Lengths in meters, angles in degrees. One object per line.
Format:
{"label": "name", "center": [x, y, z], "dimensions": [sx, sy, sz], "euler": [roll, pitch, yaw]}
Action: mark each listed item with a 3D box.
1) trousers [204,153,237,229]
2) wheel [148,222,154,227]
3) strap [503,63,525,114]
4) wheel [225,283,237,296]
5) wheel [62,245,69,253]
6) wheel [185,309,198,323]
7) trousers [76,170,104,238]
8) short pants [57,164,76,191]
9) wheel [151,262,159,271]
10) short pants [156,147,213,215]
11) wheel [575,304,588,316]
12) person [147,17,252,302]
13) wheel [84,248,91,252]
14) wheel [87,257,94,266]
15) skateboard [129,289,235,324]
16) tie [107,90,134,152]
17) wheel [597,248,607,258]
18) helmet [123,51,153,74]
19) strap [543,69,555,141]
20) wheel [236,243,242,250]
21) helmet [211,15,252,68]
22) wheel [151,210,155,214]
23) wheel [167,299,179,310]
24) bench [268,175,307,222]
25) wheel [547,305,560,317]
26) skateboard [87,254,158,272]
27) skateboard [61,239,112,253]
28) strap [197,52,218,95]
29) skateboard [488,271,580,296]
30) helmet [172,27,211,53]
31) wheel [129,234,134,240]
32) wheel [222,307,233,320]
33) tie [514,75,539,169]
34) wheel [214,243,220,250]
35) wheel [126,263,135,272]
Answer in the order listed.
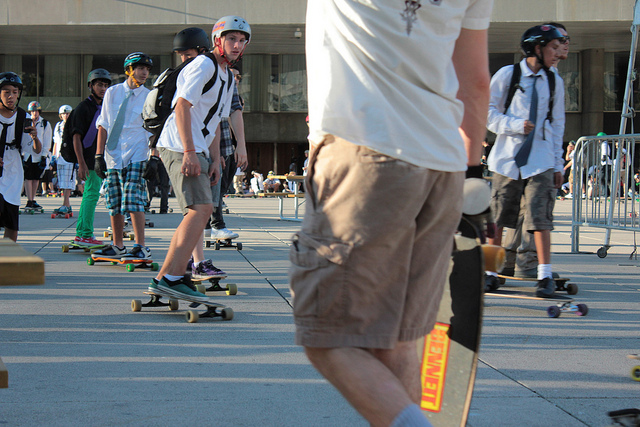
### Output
{"label": "trousers", "center": [-1.453, -0.308, 16.942], "dimensions": [0.466, 0.375, 1.339], "euler": [-6, -17, -6]}
{"label": "wheel", "center": [-3.011, 0.201, 20.669], "dimensions": [0.069, 0.076, 0.127], "euler": [-3, -2, 43]}
{"label": "strap", "center": [2.442, -1.589, 14.495], "dimensions": [0.226, 0.641, 0.153], "euler": [-1, 7, -24]}
{"label": "wheel", "center": [-1.087, 0.951, 14.360], "dimensions": [0.125, 0.152, 0.171], "euler": [3, 5, -17]}
{"label": "wheel", "center": [-3.772, 0.528, 17.161], "dimensions": [0.101, 0.121, 0.137], "euler": [4, -3, -19]}
{"label": "wheel", "center": [-1.476, 1.205, 13.331], "dimensions": [0.144, 0.128, 0.083], "euler": [3, -3, 44]}
{"label": "trousers", "center": [-3.398, -0.139, 17.041], "dimensions": [0.340, 1.039, 0.584], "euler": [0, 6, -12]}
{"label": "short pants", "center": [-5.223, -0.744, 23.776], "dimensions": [0.376, 0.575, 0.455], "euler": [-3, -6, -18]}
{"label": "wheel", "center": [-2.241, 0.733, 15.696], "dimensions": [0.092, 0.160, 0.174], "euler": [0, 0, -11]}
{"label": "short pants", "center": [-1.565, -0.377, 13.431], "dimensions": [0.646, 0.781, 0.354], "euler": [2, 6, 3]}
{"label": "wheel", "center": [3.124, 1.165, 13.738], "dimensions": [0.112, 0.089, 0.163], "euler": [-2, -25, -18]}
{"label": "person", "center": [-1.465, -0.617, 13.634], "dimensions": [0.796, 3.246, 1.150], "euler": [3, 6, 9]}
{"label": "wheel", "center": [-3.472, 0.552, 17.233], "dimensions": [0.066, 0.072, 0.128], "euler": [1, 6, -10]}
{"label": "wheel", "center": [-3.192, 0.679, 16.084], "dimensions": [0.098, 0.143, 0.157], "euler": [2, 0, -19]}
{"label": "skateboard", "center": [-1.560, 1.120, 13.517], "dimensions": [0.970, 0.207, 0.513], "euler": [12, 5, 37]}
{"label": "tie", "center": [-2.773, -1.288, 15.931], "dimensions": [0.128, 0.989, 0.140], "euler": [20, -35, -6]}
{"label": "wheel", "center": [4.297, 0.607, 17.494], "dimensions": [0.139, 0.123, 0.050], "euler": [-19, 5, 1]}
{"label": "helmet", "center": [-2.499, -2.124, 15.898], "dimensions": [0.391, 0.229, 0.394], "euler": [4, 6, 22]}
{"label": "strap", "center": [2.892, -1.493, 14.506], "dimensions": [0.128, 0.665, 0.051], "euler": [0, 7, -13]}
{"label": "wheel", "center": [-1.221, 0.512, 17.606], "dimensions": [0.079, 0.115, 0.129], "euler": [0, 0, -6]}
{"label": "helmet", "center": [-1.083, -2.138, 14.069], "dimensions": [0.444, 0.632, 0.532], "euler": [1, 6, -5]}
{"label": "wheel", "center": [-3.488, -0.038, 24.215], "dimensions": [0.085, 0.074, 0.085], "euler": [-1, -2, 0]}
{"label": "wheel", "center": [-1.729, 1.090, 13.619], "dimensions": [0.124, 0.148, 0.159], "euler": [2, 15, -7]}
{"label": "bench", "center": [-0.547, -0.303, 25.699], "dimensions": [1.030, 0.662, 0.986], "euler": [17, 10, 24]}
{"label": "wheel", "center": [2.780, 1.172, 13.693], "dimensions": [0.145, 0.125, 0.126], "euler": [2, 12, -2]}
{"label": "skateboard", "center": [-2.683, 0.666, 15.858], "dimensions": [0.682, 0.139, 0.390], "euler": [1, 0, 43]}
{"label": "skateboard", "center": [-3.516, 0.523, 17.199], "dimensions": [0.530, 0.139, 0.365], "euler": [1, -2, -28]}
{"label": "strap", "center": [-1.293, -1.674, 13.595], "dimensions": [0.183, 0.506, 0.334], "euler": [1, 6, -5]}
{"label": "skateboard", "center": [2.681, 0.908, 14.632], "dimensions": [1.168, 0.146, 0.417], "euler": [6, 7, 10]}
{"label": "helmet", "center": [-1.619, -2.203, 14.425], "dimensions": [0.410, 0.259, 0.296], "euler": [-19, 22, -33]}
{"label": "wheel", "center": [-3.078, 0.388, 18.921], "dimensions": [0.073, 0.117, 0.134], "euler": [-2, -1, 27]}
{"label": "wheel", "center": [-1.046, 1.175, 13.330], "dimensions": [0.124, 0.129, 0.129], "euler": [2, -1, 0]}
{"label": "tie", "center": [2.628, -1.158, 14.443], "dimensions": [0.282, 1.167, 0.160], "euler": [-3, 8, -38]}
{"label": "wheel", "center": [-1.578, 0.516, 17.656], "dimensions": [0.086, 0.136, 0.147], "euler": [-2, -7, -16]}
{"label": "wheel", "center": [-2.559, 0.734, 15.649], "dimensions": [0.127, 0.107, 0.107], "euler": [9, 7, -3]}
